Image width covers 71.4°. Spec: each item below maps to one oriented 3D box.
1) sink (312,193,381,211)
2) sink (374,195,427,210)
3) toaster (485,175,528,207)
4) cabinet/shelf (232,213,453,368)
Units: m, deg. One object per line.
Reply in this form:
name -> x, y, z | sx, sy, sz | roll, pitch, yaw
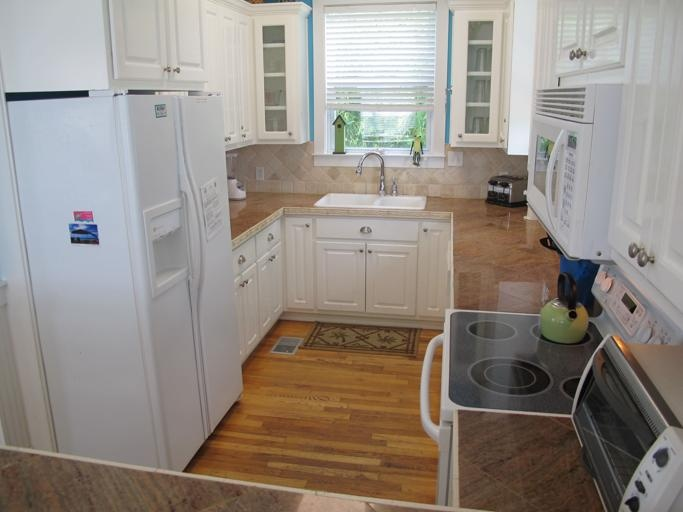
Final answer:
sink -> 0.029, -0.521, 4.462 | 0.658, 0.108, 0.418 | -6, 14, -19
sink -> 0.542, -0.501, 4.371 | 0.474, 0.091, 0.321 | 1, 13, 11
toaster -> 1.484, -0.598, 4.255 | 0.294, 0.261, 0.290 | -16, 23, -39
cabinet/shelf -> 0.012, 0.153, 3.874 | 1.542, 0.843, 1.115 | 2, 12, 12
